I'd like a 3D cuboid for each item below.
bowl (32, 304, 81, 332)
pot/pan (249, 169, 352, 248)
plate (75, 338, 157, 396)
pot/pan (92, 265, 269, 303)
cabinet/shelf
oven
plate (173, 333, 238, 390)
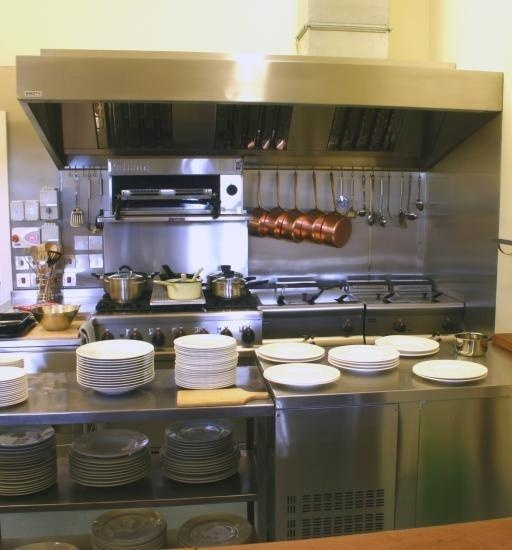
[{"bbox_3d":[-0.933,0.201,2.603,0.191,0.121,0.187,2,13,0],"label":"bowl"},{"bbox_3d":[0.263,-0.442,3.618,0.509,0.412,0.180,6,21,14],"label":"pot/pan"},{"bbox_3d":[-0.436,0.285,1.717,0.233,0.137,0.209,1,13,-2],"label":"plate"},{"bbox_3d":[-0.452,0.037,3.239,0.933,0.233,0.579,0,13,-9],"label":"pot/pan"},{"bbox_3d":[-0.365,0.647,1.797,0.816,0.665,0.458,0,13,-8],"label":"cabinet/shelf"},{"bbox_3d":[-0.337,-0.499,3.489,0.951,0.409,0.656,3,-1,26],"label":"oven"},{"bbox_3d":[-0.153,0.276,1.749,0.175,0.097,0.168,0,6,2],"label":"plate"}]
